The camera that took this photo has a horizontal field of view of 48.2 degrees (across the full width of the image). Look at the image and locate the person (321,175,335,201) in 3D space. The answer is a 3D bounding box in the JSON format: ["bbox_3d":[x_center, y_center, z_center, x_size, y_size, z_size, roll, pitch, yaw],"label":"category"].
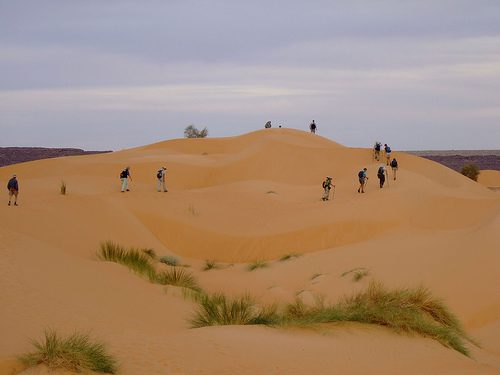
[{"bbox_3d":[3.537,0.048,25.846,0.643,1.086,0.688,3,2,-7],"label":"person"}]

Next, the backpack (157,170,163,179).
[{"bbox_3d":[-4.227,-0.601,26.207,0.193,0.454,0.612,2,10,-12],"label":"backpack"}]
